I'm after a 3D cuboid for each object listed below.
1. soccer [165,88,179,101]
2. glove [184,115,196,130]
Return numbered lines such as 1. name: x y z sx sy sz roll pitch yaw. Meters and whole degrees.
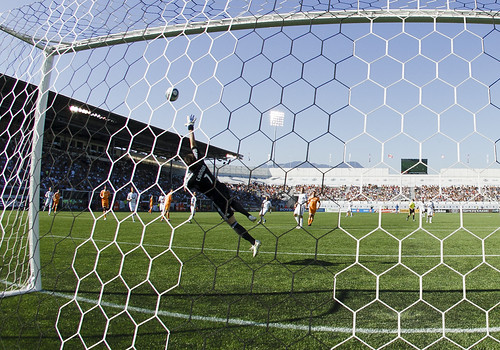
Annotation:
1. soccer: -1.038 -1.083 5.915 0.162 0.184 0.262 -3 13 -12
2. glove: -0.758 -0.675 5.662 0.110 0.225 0.319 -3 13 -11
